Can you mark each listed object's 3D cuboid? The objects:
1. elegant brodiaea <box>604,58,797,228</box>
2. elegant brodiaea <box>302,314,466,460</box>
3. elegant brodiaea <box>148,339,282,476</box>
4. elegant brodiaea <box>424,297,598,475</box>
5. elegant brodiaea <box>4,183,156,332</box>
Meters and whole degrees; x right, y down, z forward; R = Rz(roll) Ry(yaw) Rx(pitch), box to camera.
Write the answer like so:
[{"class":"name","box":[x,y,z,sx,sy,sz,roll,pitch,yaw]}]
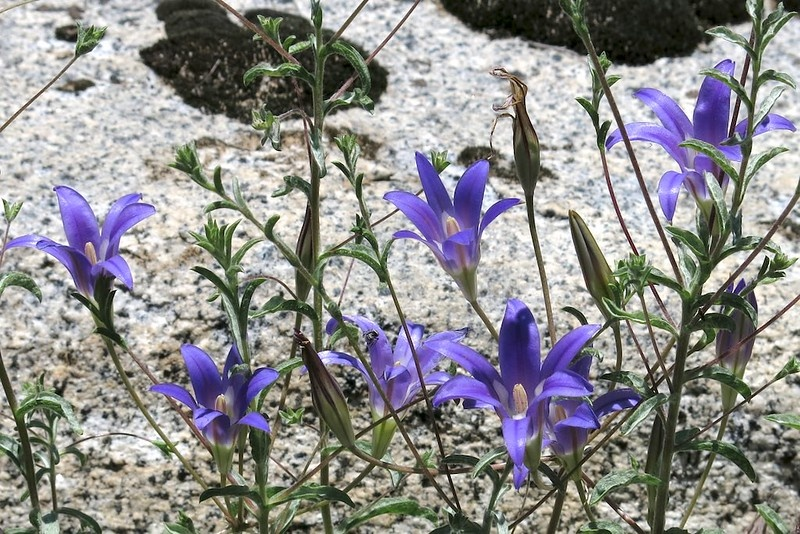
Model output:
[{"class":"elegant brodiaea","box":[0.759,-0.352,3.548,0.415,0.331,0.311,-17,29,-26]},{"class":"elegant brodiaea","box":[-0.012,0.343,3.695,0.360,0.390,0.441,11,0,-33]},{"class":"elegant brodiaea","box":[-0.488,0.395,3.579,0.304,0.339,0.339,0,9,-29]},{"class":"elegant brodiaea","box":[0.277,0.333,3.381,0.404,0.269,0.427,12,46,23]},{"class":"elegant brodiaea","box":[-0.822,-0.026,3.612,0.358,0.318,0.252,4,26,13]}]
